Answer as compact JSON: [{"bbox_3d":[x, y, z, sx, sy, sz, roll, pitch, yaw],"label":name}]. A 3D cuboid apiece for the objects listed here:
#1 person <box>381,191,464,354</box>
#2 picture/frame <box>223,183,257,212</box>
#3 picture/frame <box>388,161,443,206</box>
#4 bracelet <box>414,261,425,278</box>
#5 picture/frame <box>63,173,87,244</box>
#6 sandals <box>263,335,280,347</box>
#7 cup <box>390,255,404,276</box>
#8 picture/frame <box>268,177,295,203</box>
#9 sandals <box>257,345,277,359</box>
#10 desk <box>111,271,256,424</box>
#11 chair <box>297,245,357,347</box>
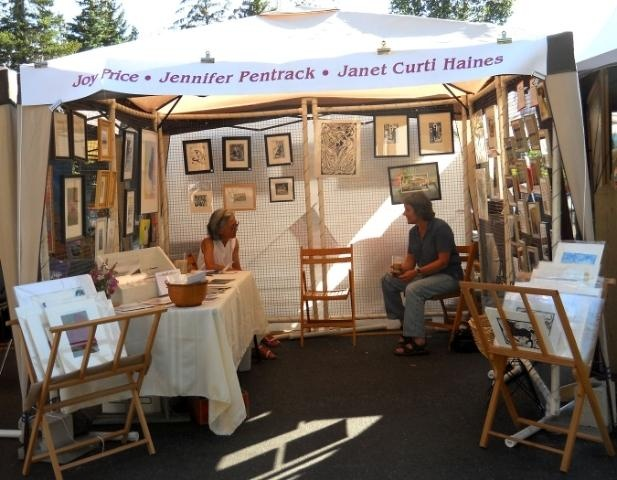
[{"bbox_3d":[1.354,0.358,6.295,0.960,1.853,0.972,-2,5,27],"label":"person"},{"bbox_3d":[-0.920,-0.564,6.967,0.387,0.349,0.032,0,-3,0],"label":"picture/frame"},{"bbox_3d":[1.437,-0.772,6.953,0.627,0.510,0.027,-5,-6,8],"label":"picture/frame"},{"bbox_3d":[1.368,0.396,6.275,0.049,0.138,0.138,3,2,-8],"label":"bracelet"},{"bbox_3d":[-2.398,-0.316,5.259,0.080,0.624,0.314,-3,5,9],"label":"picture/frame"},{"bbox_3d":[-0.467,1.270,6.485,0.283,0.120,0.106,7,15,35],"label":"sandals"},{"bbox_3d":[1.150,0.327,6.526,0.147,0.264,0.251,2,9,13],"label":"cup"},{"bbox_3d":[-0.345,-0.681,6.970,0.327,0.355,0.023,0,0,-2],"label":"picture/frame"},{"bbox_3d":[-0.488,1.335,6.086,0.110,0.095,0.299,-2,1,-38],"label":"sandals"},{"bbox_3d":[-0.880,0.968,4.963,0.877,1.059,2.054,-3,5,7],"label":"desk"},{"bbox_3d":[0.247,0.709,6.583,0.688,1.246,0.746,-2,-2,-1],"label":"chair"}]
